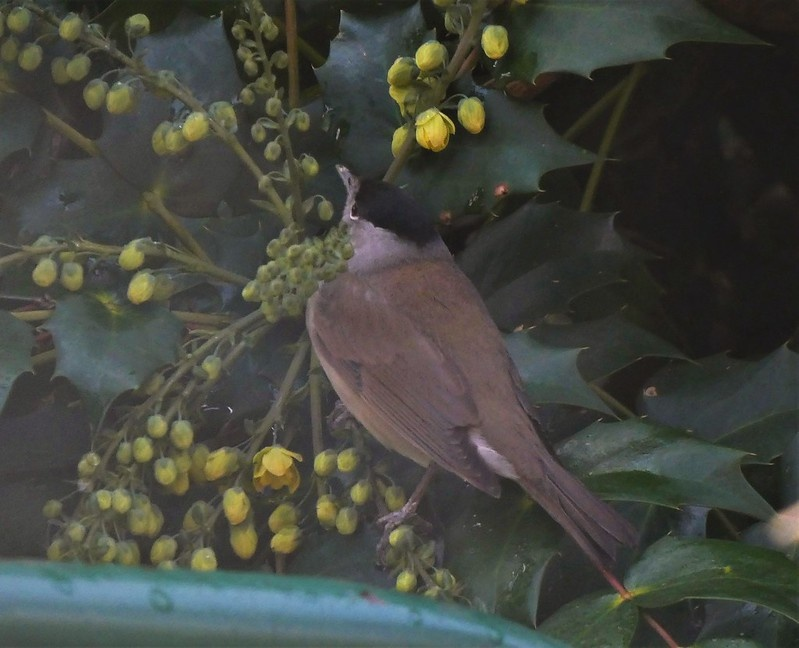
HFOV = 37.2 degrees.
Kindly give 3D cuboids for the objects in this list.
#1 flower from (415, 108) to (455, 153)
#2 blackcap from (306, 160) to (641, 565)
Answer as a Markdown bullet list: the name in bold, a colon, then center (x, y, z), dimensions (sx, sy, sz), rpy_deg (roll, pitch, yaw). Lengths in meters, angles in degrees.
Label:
- **flower**: center (0.020, -0.116, 0.715), dimensions (0.023, 0.019, 0.027), rpy_deg (0, -8, -12)
- **blackcap**: center (0.045, 0.031, 0.799), dimensions (0.121, 0.192, 0.315), rpy_deg (-15, 29, -31)
